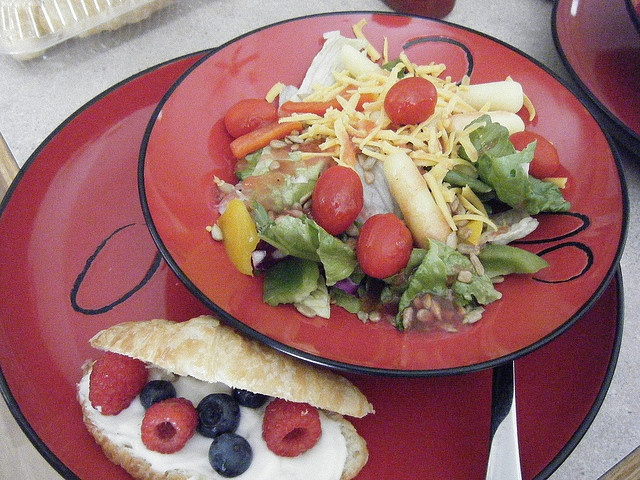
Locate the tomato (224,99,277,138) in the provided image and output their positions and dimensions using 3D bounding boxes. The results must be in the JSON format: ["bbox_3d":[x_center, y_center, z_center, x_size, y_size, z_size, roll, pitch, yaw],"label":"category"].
[{"bbox_3d":[-0.263,-0.475,2.464,0.165,0.088,0.141,-29,38,-24],"label":"tomato"}]

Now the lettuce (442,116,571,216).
[{"bbox_3d":[0.656,-0.231,2.219,0.410,0.162,0.315,39,21,8],"label":"lettuce"}]

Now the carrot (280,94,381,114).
[{"bbox_3d":[0.051,-0.512,2.407,0.273,0.071,0.072,-6,38,-2],"label":"carrot"}]

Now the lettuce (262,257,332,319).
[{"bbox_3d":[-0.075,0.150,2.092,0.217,0.057,0.214,3,64,-1],"label":"lettuce"}]

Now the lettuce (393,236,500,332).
[{"bbox_3d":[0.401,0.176,2.065,0.315,0.106,0.417,11,41,40],"label":"lettuce"}]

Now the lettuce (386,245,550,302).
[{"bbox_3d":[0.477,0.049,2.180,0.538,0.129,0.247,3,35,25],"label":"lettuce"}]
